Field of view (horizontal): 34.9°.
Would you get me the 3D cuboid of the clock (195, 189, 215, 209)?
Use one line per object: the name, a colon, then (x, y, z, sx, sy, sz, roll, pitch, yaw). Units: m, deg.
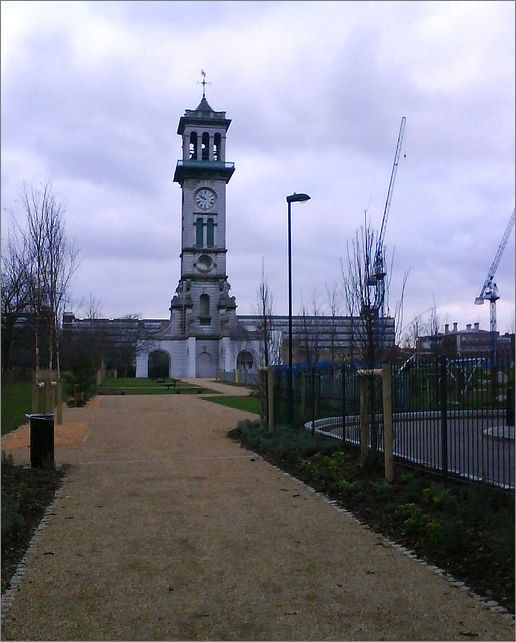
clock: (-4.724, -10.681, 71.637, 1.344, 2.007, 0.258, 0, -2, -5)

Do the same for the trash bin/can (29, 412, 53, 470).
trash bin/can: (-3.296, 1.795, 12.392, 0.375, 0.882, 0.377, -7, 19, -37)
